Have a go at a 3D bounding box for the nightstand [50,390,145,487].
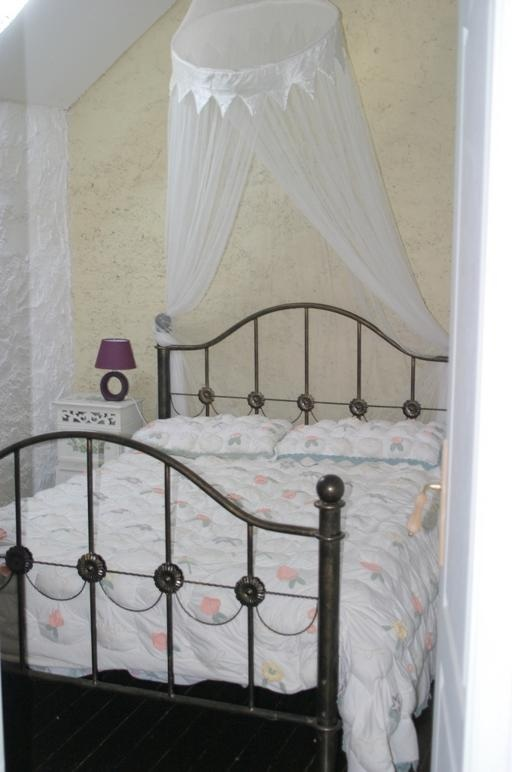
[{"bbox_3d":[-0.840,0.236,3.792,0.512,0.685,0.463,2,1,15],"label":"nightstand"}]
